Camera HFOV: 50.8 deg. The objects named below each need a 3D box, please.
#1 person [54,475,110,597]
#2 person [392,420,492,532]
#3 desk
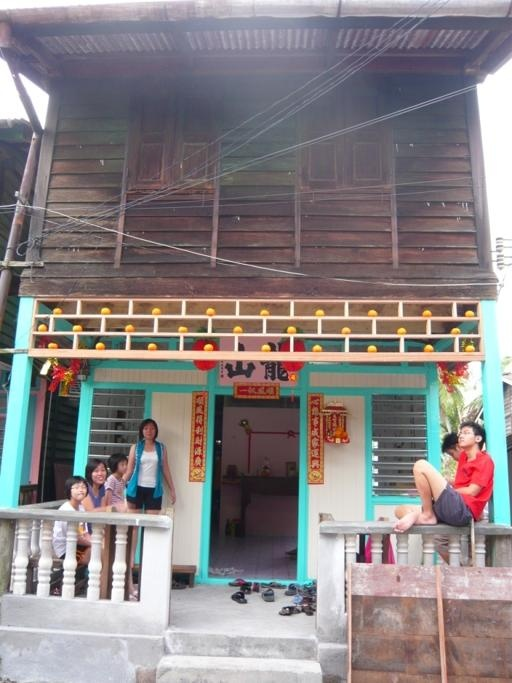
[{"bbox_3d":[-1.559,1.686,4.588,0.306,1.021,1.104,6,-14,-16],"label":"person"},{"bbox_3d":[1.462,0.990,4.032,0.430,0.805,0.924,-11,-19,42],"label":"person"},{"bbox_3d":[0.240,3.230,10.587,1.159,1.118,0.390,-1,-14,9],"label":"desk"}]
